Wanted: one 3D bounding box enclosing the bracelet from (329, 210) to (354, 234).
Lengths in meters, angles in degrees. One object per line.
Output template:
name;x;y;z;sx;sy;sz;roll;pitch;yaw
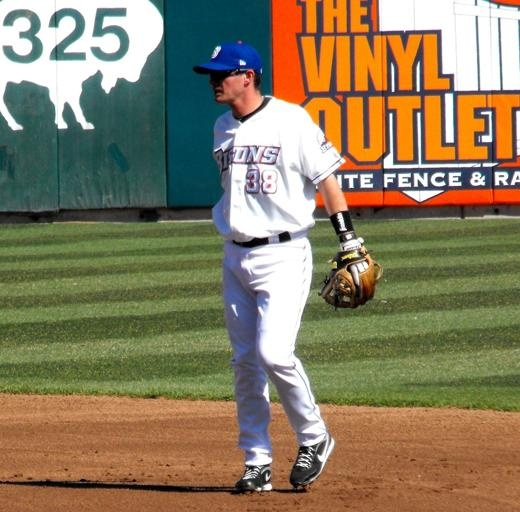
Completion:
bracelet;0.697;-0.292;11.446;0.165;0.214;0.184;-22;-2;-4

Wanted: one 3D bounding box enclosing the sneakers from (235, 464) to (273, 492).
sneakers;-0.033;1.890;11.423;0.136;0.239;0.401;-4;-12;35

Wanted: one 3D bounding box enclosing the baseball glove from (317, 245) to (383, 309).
baseball glove;0.814;0.130;11.447;0.369;0.493;0.467;14;-37;-19

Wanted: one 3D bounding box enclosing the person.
person;0.129;0.089;11.436;1.224;3.694;0.860;1;12;8

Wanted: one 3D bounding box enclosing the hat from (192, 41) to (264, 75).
hat;-0.259;-1.724;11.577;0.566;0.344;0.396;-2;7;-34
